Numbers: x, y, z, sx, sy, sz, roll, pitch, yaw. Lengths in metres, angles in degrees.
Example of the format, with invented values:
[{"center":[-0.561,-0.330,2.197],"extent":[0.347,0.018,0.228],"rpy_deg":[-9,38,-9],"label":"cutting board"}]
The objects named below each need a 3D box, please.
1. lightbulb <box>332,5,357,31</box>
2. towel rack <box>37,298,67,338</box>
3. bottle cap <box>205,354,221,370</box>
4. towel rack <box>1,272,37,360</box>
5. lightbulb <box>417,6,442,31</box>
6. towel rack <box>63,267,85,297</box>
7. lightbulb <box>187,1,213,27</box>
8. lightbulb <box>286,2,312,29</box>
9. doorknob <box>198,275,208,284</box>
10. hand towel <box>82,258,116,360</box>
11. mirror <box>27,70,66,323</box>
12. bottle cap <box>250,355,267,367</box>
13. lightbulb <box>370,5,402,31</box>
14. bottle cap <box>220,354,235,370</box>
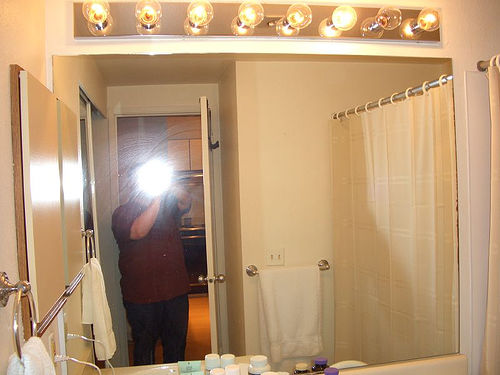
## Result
[{"center":[0.381,-0.692,1.654],"extent":[0.092,0.084,0.043],"rpy_deg":[-2,-5,-13],"label":"lightbulb"},{"center":[-0.651,0.425,1.337],"extent":[0.018,0.017,0.117],"rpy_deg":[-10,34,28],"label":"towel rack"},{"center":[-0.146,0.675,1.571],"extent":[0.054,0.052,0.055],"rpy_deg":[-1,-5,37],"label":"bottle cap"},{"center":[-0.607,0.343,1.094],"extent":[0.038,0.189,0.148],"rpy_deg":[1,7,-6],"label":"towel rack"},{"center":[0.759,-0.713,1.716],"extent":[0.098,0.086,0.038],"rpy_deg":[-1,-5,-18],"label":"lightbulb"},{"center":[-0.638,0.343,1.463],"extent":[0.029,0.098,0.096],"rpy_deg":[-4,-5,13],"label":"towel rack"},{"center":[-0.192,-0.672,1.572],"extent":[0.097,0.081,0.050],"rpy_deg":[-2,-5,-7],"label":"lightbulb"},{"center":[0.197,-0.688,1.624],"extent":[0.091,0.097,0.037],"rpy_deg":[1,6,-3],"label":"lightbulb"},{"center":[-0.185,0.356,1.565],"extent":[0.032,0.024,0.017],"rpy_deg":[1,3,-9],"label":"doorknob"},{"center":[-0.566,0.455,1.513],"extent":[0.112,0.372,0.017],"rpy_deg":[-1,-5,-20],"label":"hand towel"},{"center":[-0.660,0.033,1.329],"extent":[0.011,0.704,0.362],"rpy_deg":[-2,0,-13],"label":"mirror"},{"center":[0.033,0.680,1.592],"extent":[0.045,0.029,0.046],"rpy_deg":[-2,-4,-14],"label":"bottle cap"},{"center":[0.571,-0.703,1.683],"extent":[0.147,0.089,0.047],"rpy_deg":[-2,-5,-15],"label":"lightbulb"},{"center":[-0.086,0.675,1.579],"extent":[0.048,0.057,0.053],"rpy_deg":[-1,-4,5],"label":"bottle cap"}]
